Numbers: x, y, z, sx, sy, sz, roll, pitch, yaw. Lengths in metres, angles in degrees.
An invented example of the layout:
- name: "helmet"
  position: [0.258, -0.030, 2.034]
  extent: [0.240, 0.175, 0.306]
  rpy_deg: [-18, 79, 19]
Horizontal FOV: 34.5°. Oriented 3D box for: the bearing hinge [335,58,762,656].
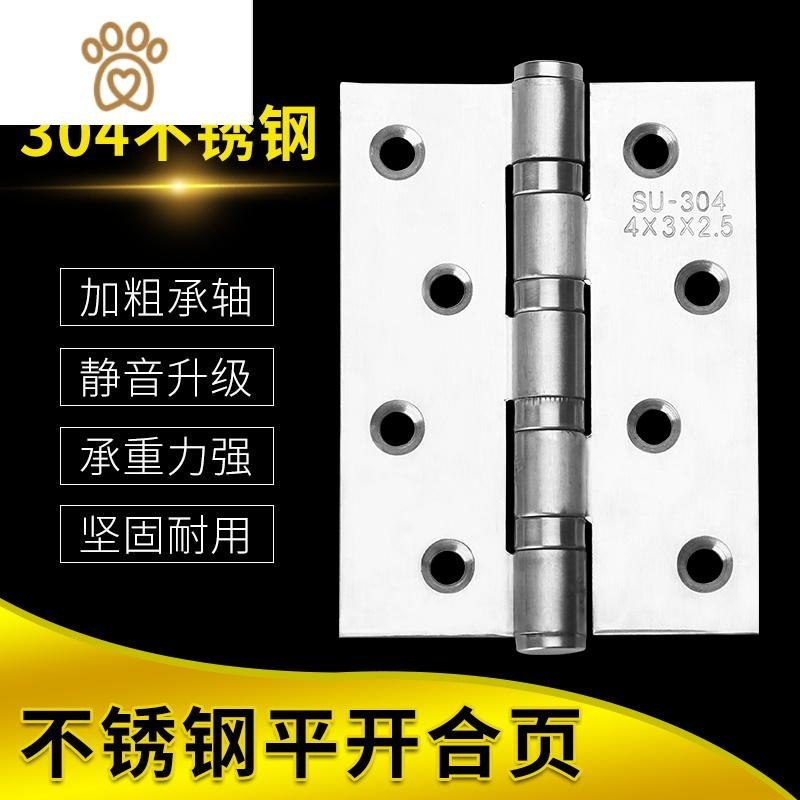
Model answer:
- name: "bearing hinge"
  position: [0.169, -0.055, 1.353]
  extent: [0.421, 0.089, 0.657]
  rpy_deg: [3, -53, 15]
